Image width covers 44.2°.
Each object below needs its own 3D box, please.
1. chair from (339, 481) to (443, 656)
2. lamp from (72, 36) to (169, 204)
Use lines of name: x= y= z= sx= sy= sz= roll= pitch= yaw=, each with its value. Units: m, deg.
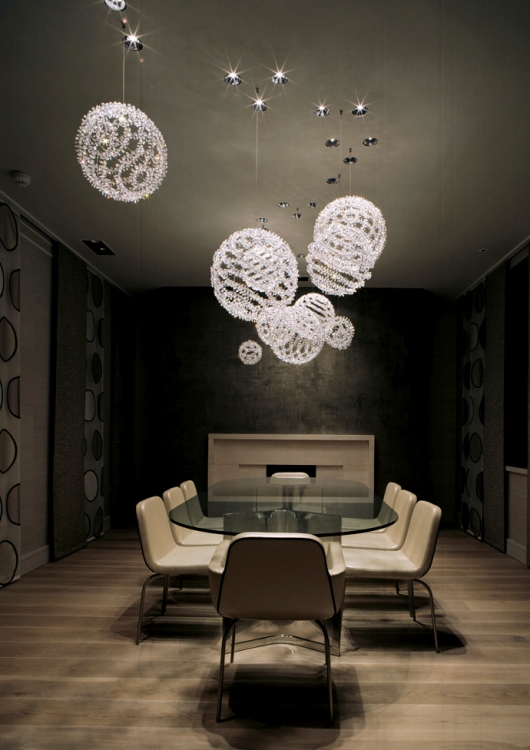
chair: x=0.673 y=0.961 z=3.357 sx=0.575 sy=0.883 sz=0.613 roll=1 pitch=-9 yaw=-3
lamp: x=-0.505 y=-0.777 z=2.228 sx=0.324 sy=0.360 sz=0.362 roll=1 pitch=-2 yaw=-4
